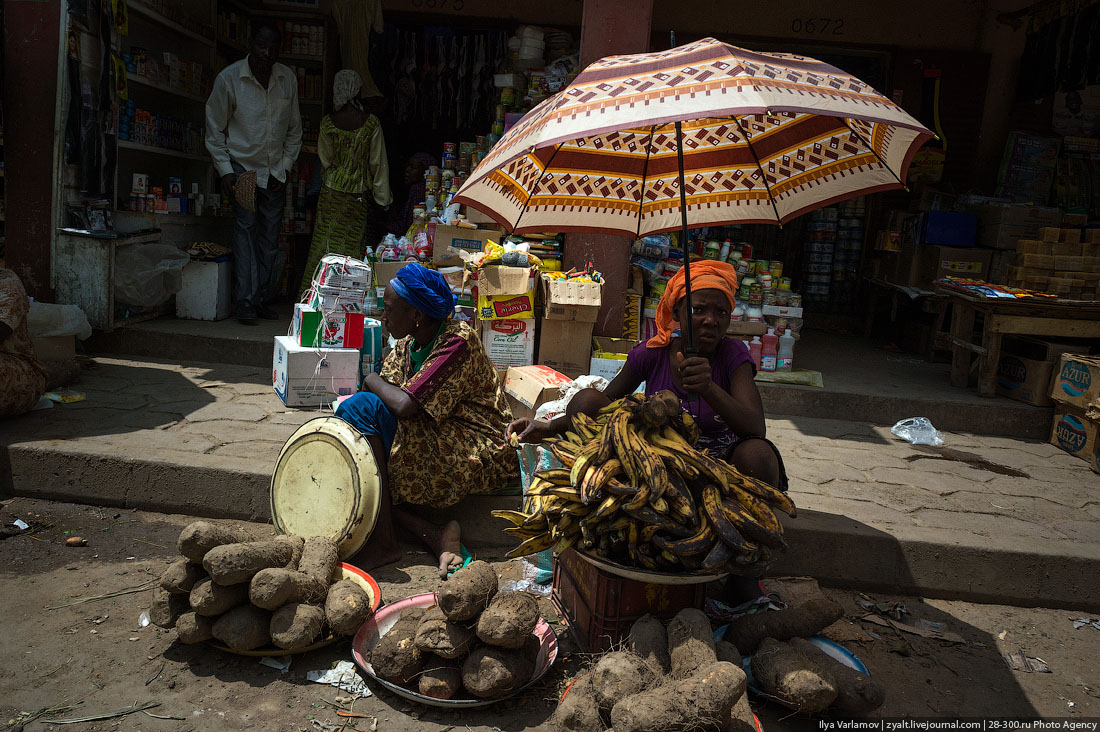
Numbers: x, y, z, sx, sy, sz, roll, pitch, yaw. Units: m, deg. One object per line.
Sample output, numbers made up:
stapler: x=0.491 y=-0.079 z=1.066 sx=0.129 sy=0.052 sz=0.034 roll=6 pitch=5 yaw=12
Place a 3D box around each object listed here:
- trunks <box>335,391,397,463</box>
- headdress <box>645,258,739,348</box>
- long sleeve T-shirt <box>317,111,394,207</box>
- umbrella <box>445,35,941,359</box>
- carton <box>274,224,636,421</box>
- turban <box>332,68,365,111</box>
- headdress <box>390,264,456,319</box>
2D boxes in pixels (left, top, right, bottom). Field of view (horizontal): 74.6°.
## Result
trunks: x=-1.080 y=0.355 z=4.387 sx=0.317 sy=0.371 sz=0.158 roll=6 pitch=16 yaw=4
headdress: x=0.788 y=-0.325 z=3.881 sx=0.381 sy=0.496 sz=0.313 roll=0 pitch=12 yaw=-19
long sleeve T-shirt: x=-2.205 y=-2.334 z=8.556 sx=1.133 sy=1.284 sz=0.837 roll=-1 pitch=8 yaw=-13
umbrella: x=0.669 y=-0.797 z=3.878 sx=2.366 sy=1.466 sz=2.265 roll=-2 pitch=-3 yaw=6
carton: x=-0.814 y=0.023 z=5.585 sx=2.736 sy=1.745 sz=1.426 roll=-1 pitch=5 yaw=-6
turban: x=-2.292 y=-3.155 z=8.161 sx=0.360 sy=0.445 sz=0.106 roll=5 pitch=17 yaw=-1
headdress: x=-0.781 y=-0.477 z=4.451 sx=0.482 sy=0.223 sz=0.425 roll=22 pitch=10 yaw=6
